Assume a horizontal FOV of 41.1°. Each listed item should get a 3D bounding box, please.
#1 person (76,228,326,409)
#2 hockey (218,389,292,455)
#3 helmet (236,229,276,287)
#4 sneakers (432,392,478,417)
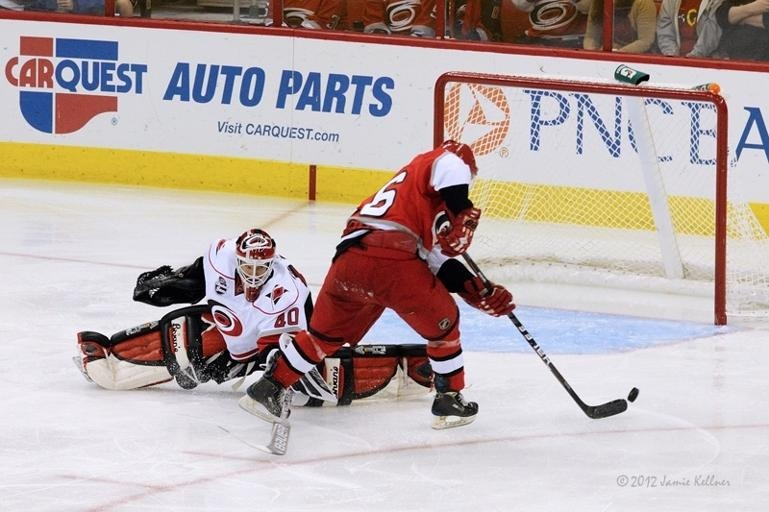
[{"bbox_3d":[-1.126,0.374,5.957,1.297,0.906,0.568,-26,-26,-29],"label":"person"},{"bbox_3d":[-0.648,0.889,5.605,0.443,0.303,0.445,0,6,-19],"label":"hockey"},{"bbox_3d":[-0.751,0.014,5.903,0.283,0.286,0.324,4,29,-8],"label":"helmet"},{"bbox_3d":[0.386,0.817,5.678,0.249,0.121,0.121,-2,5,-7],"label":"sneakers"}]
